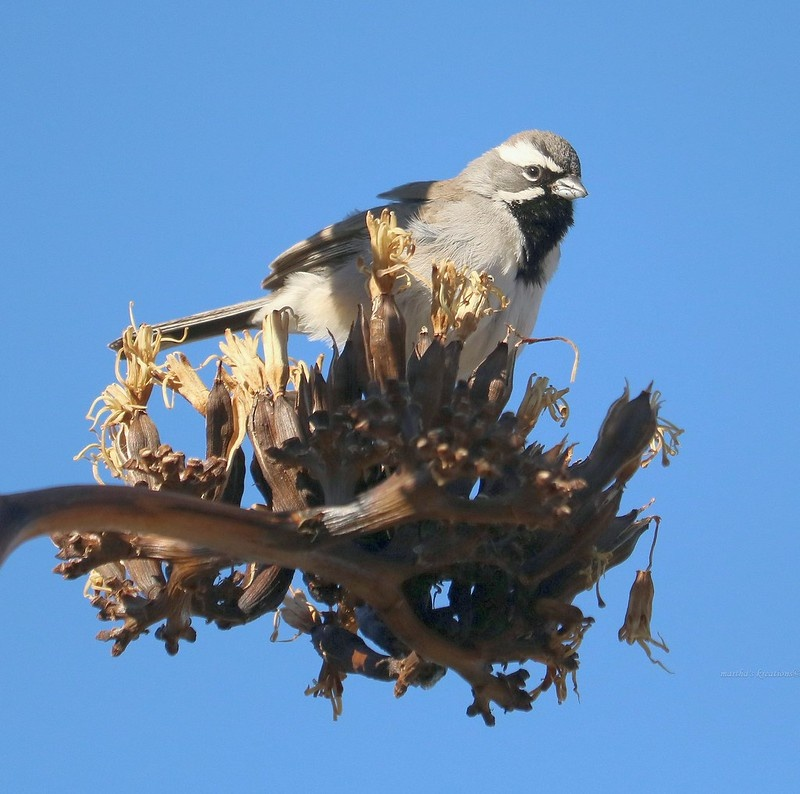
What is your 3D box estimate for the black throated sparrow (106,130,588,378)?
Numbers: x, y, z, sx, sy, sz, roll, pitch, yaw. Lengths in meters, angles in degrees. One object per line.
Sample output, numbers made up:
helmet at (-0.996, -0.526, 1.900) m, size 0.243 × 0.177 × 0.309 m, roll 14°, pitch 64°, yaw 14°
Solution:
black throated sparrow at (-0.197, -0.403, 9.187) m, size 1.687 × 1.091 × 0.570 m, roll -1°, pitch -11°, yaw 19°
